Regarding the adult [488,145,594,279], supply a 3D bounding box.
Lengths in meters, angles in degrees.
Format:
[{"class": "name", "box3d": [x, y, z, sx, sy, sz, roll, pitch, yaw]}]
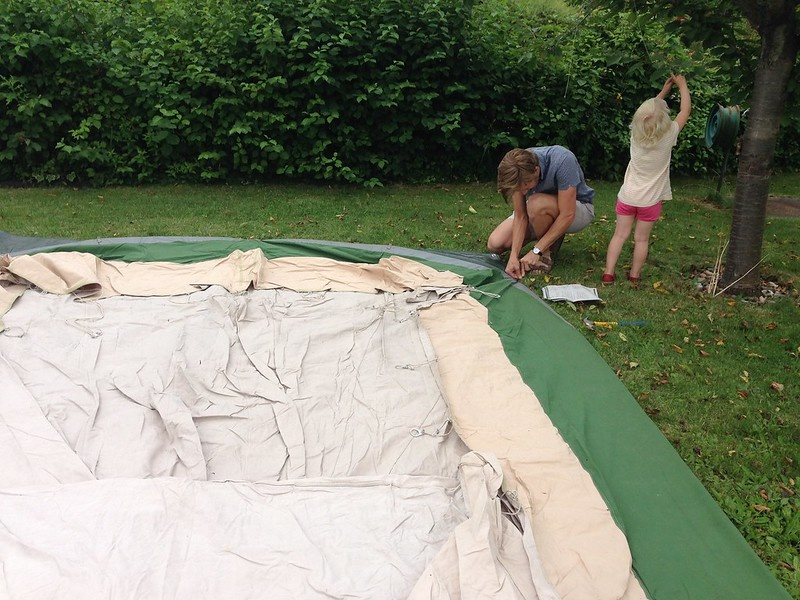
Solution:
[{"class": "adult", "box3d": [1.263, -0.827, 7.287, 0.864, 1.076, 1.219, 4, 20, 43]}]

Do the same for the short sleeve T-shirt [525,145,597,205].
[{"class": "short sleeve T-shirt", "box3d": [1.455, -1.112, 7.093, 0.644, 0.507, 0.403, 4, 17, 1]}]

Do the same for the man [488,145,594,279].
[{"class": "man", "box3d": [1.270, -0.844, 7.306, 0.855, 1.090, 1.204, 1, 19, 36]}]

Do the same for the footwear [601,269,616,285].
[{"class": "footwear", "box3d": [1.886, -0.195, 7.058, 0.099, 0.096, 0.242, 0, 12, 19]}]

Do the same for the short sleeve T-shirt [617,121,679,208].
[{"class": "short sleeve T-shirt", "box3d": [2.177, -1.210, 6.845, 0.502, 0.681, 0.482, 17, 32, 33]}]
